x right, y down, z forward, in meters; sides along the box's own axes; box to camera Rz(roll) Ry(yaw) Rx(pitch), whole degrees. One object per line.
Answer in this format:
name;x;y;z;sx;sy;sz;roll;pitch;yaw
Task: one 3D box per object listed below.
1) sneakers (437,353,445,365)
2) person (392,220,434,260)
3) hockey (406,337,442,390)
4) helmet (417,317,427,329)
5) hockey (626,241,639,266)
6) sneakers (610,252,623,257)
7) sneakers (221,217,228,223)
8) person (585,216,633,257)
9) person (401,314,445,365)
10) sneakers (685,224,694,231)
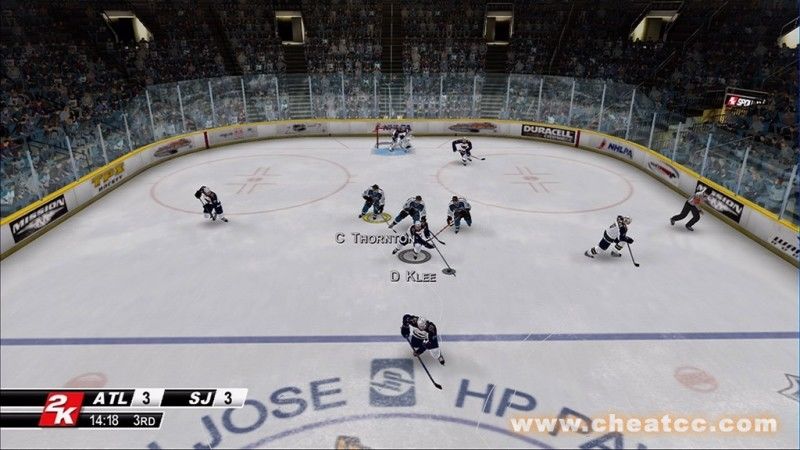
sneakers;1.335;4.288;16.653;0.208;0.343;0.094;-23;4;7
person;0.589;0.540;19.748;1.463;1.346;0.691;3;41;5
hockey;0.778;4.424;16.473;0.281;0.254;2.275;-7;40;-24
helmet;0.683;3.046;16.193;0.291;0.325;0.321;7;47;-2
hockey;8.931;1.181;19.729;0.475;0.215;0.758;0;59;-30
sneakers;8.336;1.141;19.884;0.327;0.190;0.179;-2;19;9
sneakers;-7.337;-0.215;21.731;0.235;0.182;0.249;-18;42;-19
person;7.921;0.524;19.615;1.644;1.623;1.004;1;19;0
person;0.708;3.796;16.938;1.243;2.738;1.068;10;49;15
sneakers;11.986;0.105;21.349;0.423;0.245;0.140;7;29;27
